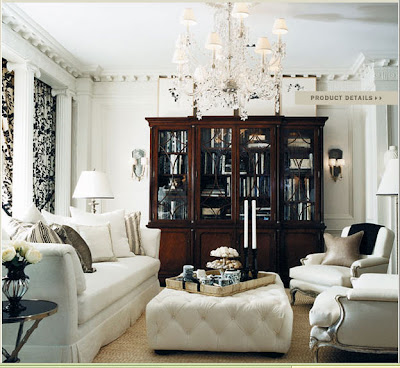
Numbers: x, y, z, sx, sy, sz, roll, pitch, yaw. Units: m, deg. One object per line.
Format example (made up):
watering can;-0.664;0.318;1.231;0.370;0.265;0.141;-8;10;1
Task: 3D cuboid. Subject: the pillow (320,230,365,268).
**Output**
pillow;1.454;0.672;4.130;0.281;0.301;0.114;0;-28;32

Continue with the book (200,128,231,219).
book;0.205;-0.129;5.166;0.406;1.137;0.134;-2;2;5

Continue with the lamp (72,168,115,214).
lamp;-1.163;0.155;4.487;0.356;0.726;0.401;7;18;-2

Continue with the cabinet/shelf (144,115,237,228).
cabinet/shelf;-0.071;-0.133;5.189;1.176;1.650;0.447;0;-4;2

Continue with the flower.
flower;-1.029;0.417;2.340;0.190;0.222;0.206;1;-4;31

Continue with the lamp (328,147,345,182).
lamp;1.843;-0.242;5.511;0.176;0.457;0.129;-4;-8;22

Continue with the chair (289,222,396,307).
chair;1.383;0.786;4.214;0.920;1.072;0.750;13;-18;-26

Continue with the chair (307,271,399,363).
chair;0.952;0.833;2.783;0.631;0.458;0.565;-2;-12;13

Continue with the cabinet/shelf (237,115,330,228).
cabinet/shelf;1.015;-0.142;5.089;1.168;1.744;0.445;0;-3;2

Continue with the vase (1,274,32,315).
vase;-1.045;0.629;2.311;0.157;0.263;0.169;1;-8;-10
